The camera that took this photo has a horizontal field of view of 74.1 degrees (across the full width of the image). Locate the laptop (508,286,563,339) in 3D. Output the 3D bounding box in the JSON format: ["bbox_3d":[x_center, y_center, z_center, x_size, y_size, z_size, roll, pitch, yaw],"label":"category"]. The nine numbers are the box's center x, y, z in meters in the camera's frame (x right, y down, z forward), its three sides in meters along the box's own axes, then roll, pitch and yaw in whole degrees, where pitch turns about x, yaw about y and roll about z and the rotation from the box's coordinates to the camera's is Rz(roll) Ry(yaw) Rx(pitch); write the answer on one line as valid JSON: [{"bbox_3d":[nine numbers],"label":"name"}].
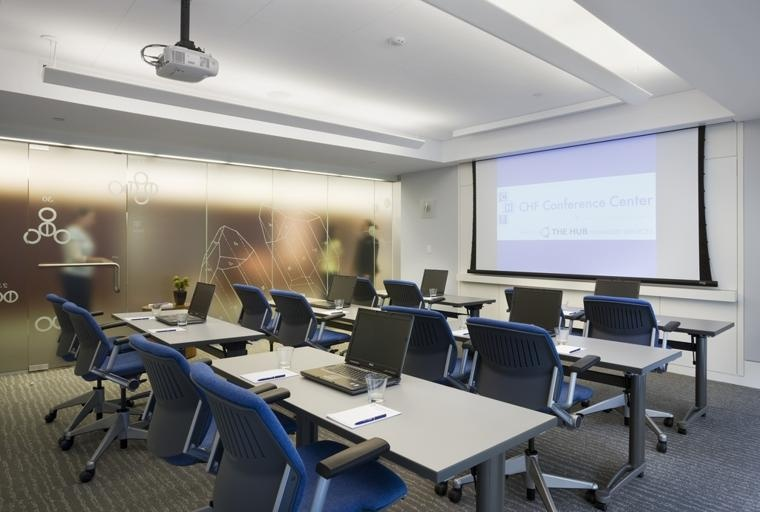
[{"bbox_3d":[1.684,0.550,5.476,0.583,0.588,0.465,6,2,43],"label":"laptop"}]

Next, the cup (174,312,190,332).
[{"bbox_3d":[-2.302,0.771,5.857,0.175,0.286,0.174,0,3,0],"label":"cup"}]

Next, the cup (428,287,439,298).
[{"bbox_3d":[0.887,0.630,8.494,0.136,0.124,0.132,-1,-1,0],"label":"cup"}]

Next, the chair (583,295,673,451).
[{"bbox_3d":[2.977,1.249,6.141,1.147,1.573,1.074,0,2,43],"label":"chair"}]

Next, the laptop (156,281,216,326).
[{"bbox_3d":[-2.332,0.607,6.100,0.508,0.383,0.593,2,-3,-35],"label":"laptop"}]

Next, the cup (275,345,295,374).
[{"bbox_3d":[-0.828,0.911,4.395,0.192,0.230,0.197,-1,2,0],"label":"cup"}]

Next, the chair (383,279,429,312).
[{"bbox_3d":[0.380,0.582,7.694,0.455,0.523,0.472,2,6,41],"label":"chair"}]

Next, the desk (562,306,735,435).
[{"bbox_3d":[3.444,1.399,6.446,0.833,1.110,1.509,-2,5,-37],"label":"desk"}]

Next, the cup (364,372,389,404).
[{"bbox_3d":[-0.030,1.043,3.922,0.174,0.177,0.193,-1,-5,16],"label":"cup"}]

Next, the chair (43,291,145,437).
[{"bbox_3d":[-2.990,1.167,5.490,0.986,1.220,0.976,3,-3,26],"label":"chair"}]

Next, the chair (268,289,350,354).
[{"bbox_3d":[-0.965,1.047,6.690,0.934,1.247,0.994,1,4,-3],"label":"chair"}]

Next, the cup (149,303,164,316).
[{"bbox_3d":[-2.948,0.715,6.632,0.227,0.160,0.199,4,-5,-36],"label":"cup"}]

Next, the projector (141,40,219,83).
[{"bbox_3d":[-1.880,-1.882,4.844,0.599,0.361,0.318,-2,12,-13],"label":"projector"}]

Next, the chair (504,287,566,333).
[{"bbox_3d":[1.721,0.689,5.531,0.537,0.504,0.441,4,-34,24],"label":"chair"}]

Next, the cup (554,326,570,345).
[{"bbox_3d":[1.873,0.834,5.169,0.154,0.179,0.165,0,-7,0],"label":"cup"}]

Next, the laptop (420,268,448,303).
[{"bbox_3d":[0.808,0.497,8.853,0.637,0.461,0.589,1,6,43],"label":"laptop"}]

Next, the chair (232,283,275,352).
[{"bbox_3d":[-1.642,0.864,6.915,0.619,0.899,0.639,4,3,33],"label":"chair"}]

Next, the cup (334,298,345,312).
[{"bbox_3d":[-0.580,0.703,7.142,0.130,0.151,0.126,0,0,0],"label":"cup"}]

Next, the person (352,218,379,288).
[{"bbox_3d":[-0.297,-0.075,11.248,0.289,1.380,0.739,7,13,29],"label":"person"}]

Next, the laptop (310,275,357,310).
[{"bbox_3d":[-0.728,0.493,7.425,0.578,0.405,0.666,4,-10,-45],"label":"laptop"}]

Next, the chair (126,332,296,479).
[{"bbox_3d":[-1.437,1.117,4.361,1.114,1.209,1.011,1,-1,-43],"label":"chair"}]
